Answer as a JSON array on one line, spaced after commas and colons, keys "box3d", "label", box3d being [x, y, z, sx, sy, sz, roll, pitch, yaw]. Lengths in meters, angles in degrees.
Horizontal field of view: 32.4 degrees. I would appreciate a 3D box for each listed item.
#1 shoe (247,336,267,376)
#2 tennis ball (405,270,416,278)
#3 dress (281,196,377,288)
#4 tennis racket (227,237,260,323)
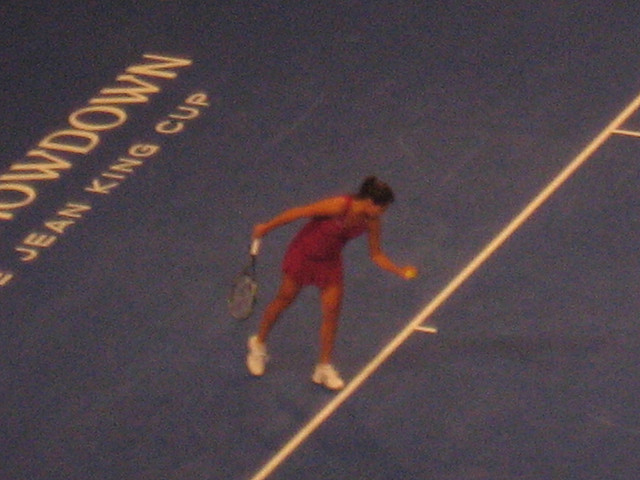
[{"box3d": [-0.491, 0.891, 8.427, 0.130, 0.123, 0.298, -3, 84, -15], "label": "shoe"}, {"box3d": [0.655, 0.248, 8.078, 0.074, 0.036, 0.052, 2, 81, 2], "label": "tennis ball"}, {"box3d": [0.039, 0.018, 8.084, 0.506, 0.433, 0.701, 25, 82, 6], "label": "dress"}, {"box3d": [-0.597, 0.322, 8.316, 0.298, 0.691, 0.588, 3, 81, 4], "label": "tennis racket"}]
